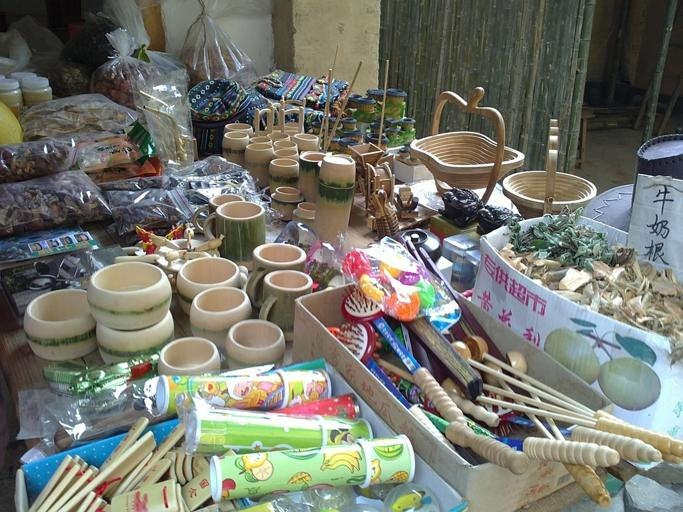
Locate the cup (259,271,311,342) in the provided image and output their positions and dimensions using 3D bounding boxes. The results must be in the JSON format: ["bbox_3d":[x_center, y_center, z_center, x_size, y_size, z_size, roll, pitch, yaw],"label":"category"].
[{"bbox_3d":[-0.128,0.096,1.141,0.093,0.153,0.163,11,28,11],"label":"cup"}]

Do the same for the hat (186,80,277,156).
[{"bbox_3d":[-0.466,-0.596,2.084,0.331,0.268,0.311,-9,27,-16],"label":"hat"}]

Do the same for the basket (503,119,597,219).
[{"bbox_3d":[0.649,-0.308,1.555,0.260,0.299,0.323,6,3,27],"label":"basket"}]

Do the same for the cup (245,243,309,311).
[{"bbox_3d":[-0.138,0.024,1.150,0.098,0.127,0.169,10,29,14],"label":"cup"}]

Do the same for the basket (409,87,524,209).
[{"bbox_3d":[0.441,-0.385,1.706,0.321,0.402,0.351,-21,36,-27],"label":"basket"}]

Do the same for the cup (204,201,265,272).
[{"bbox_3d":[-0.264,-0.063,1.300,0.166,0.173,0.117,-3,32,-10],"label":"cup"}]

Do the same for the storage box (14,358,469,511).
[{"bbox_3d":[-0.227,0.305,0.820,0.829,0.104,0.278,1,27,2],"label":"storage box"}]
